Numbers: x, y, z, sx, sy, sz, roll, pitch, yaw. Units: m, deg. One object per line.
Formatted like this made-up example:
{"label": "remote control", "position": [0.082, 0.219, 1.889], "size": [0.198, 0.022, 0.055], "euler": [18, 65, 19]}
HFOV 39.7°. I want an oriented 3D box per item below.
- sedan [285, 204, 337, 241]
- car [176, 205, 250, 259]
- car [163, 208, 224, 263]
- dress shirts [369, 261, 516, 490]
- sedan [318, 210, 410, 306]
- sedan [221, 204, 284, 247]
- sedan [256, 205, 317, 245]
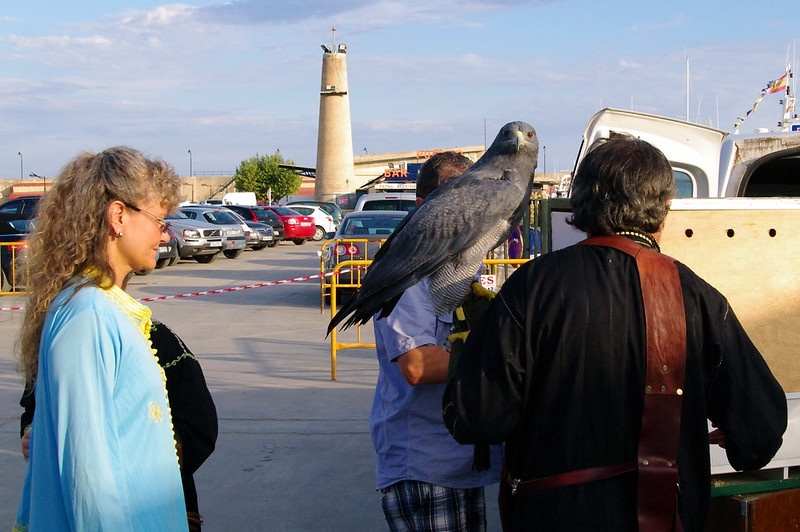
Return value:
{"label": "sedan", "position": [-3.303, -1.533, 35.994], "size": [2.288, 0.959, 1.242], "euler": [5, 3, 5]}
{"label": "car", "position": [-4.002, -0.870, 25.202], "size": [0.842, 0.695, 1.659], "euler": [-4, 9, -39]}
{"label": "car", "position": [-3.978, -0.588, 21.290], "size": [0.940, 0.801, 1.984], "euler": [-2, 11, -25]}
{"label": "dress shirts", "position": [0.406, 0.647, 6.187], "size": [0.903, 1.465, 1.327], "euler": [-2, -3, 14]}
{"label": "sedan", "position": [-0.601, -0.257, 15.145], "size": [0.939, 0.769, 1.866], "euler": [-1, 2, 1]}
{"label": "sedan", "position": [-4.001, -1.225, 31.541], "size": [1.930, 0.709, 0.908], "euler": [6, 7, 34]}
{"label": "sedan", "position": [-3.424, -1.263, 33.279], "size": [0.843, 0.577, 1.749], "euler": [-3, 9, -35]}
